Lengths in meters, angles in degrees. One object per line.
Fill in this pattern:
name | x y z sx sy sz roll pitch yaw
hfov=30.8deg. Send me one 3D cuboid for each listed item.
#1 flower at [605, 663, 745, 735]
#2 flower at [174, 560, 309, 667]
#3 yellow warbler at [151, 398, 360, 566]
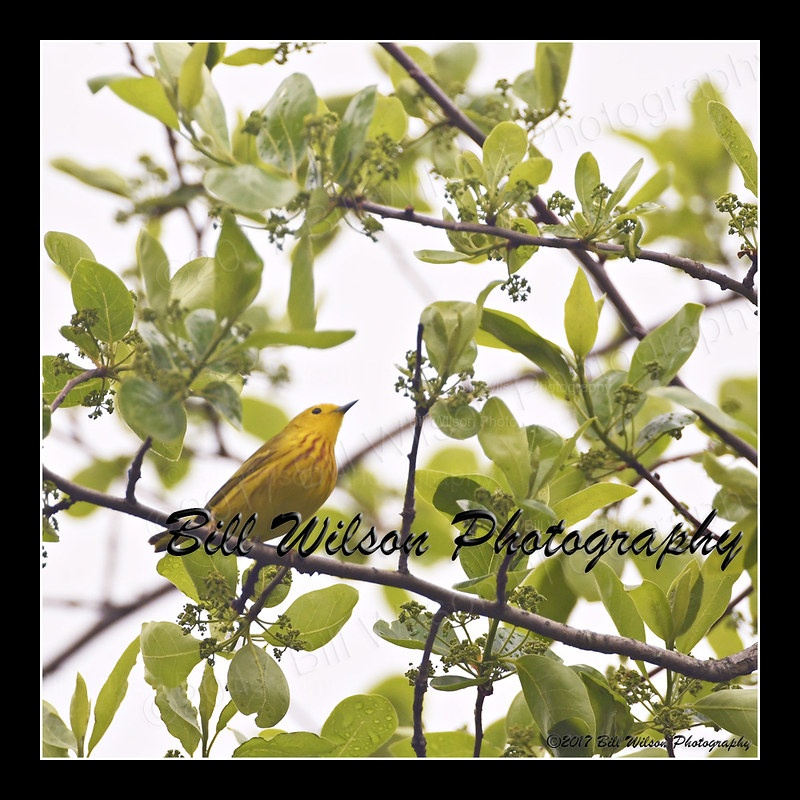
flower | 0.348 0.367 1.899 0.091 0.099 0.129 4 -96 -24
flower | -0.209 0.281 1.933 0.131 0.043 0.137 18 -93 -2
yellow warbler | -0.165 0.100 1.865 0.167 0.169 0.206 0 -91 -29
